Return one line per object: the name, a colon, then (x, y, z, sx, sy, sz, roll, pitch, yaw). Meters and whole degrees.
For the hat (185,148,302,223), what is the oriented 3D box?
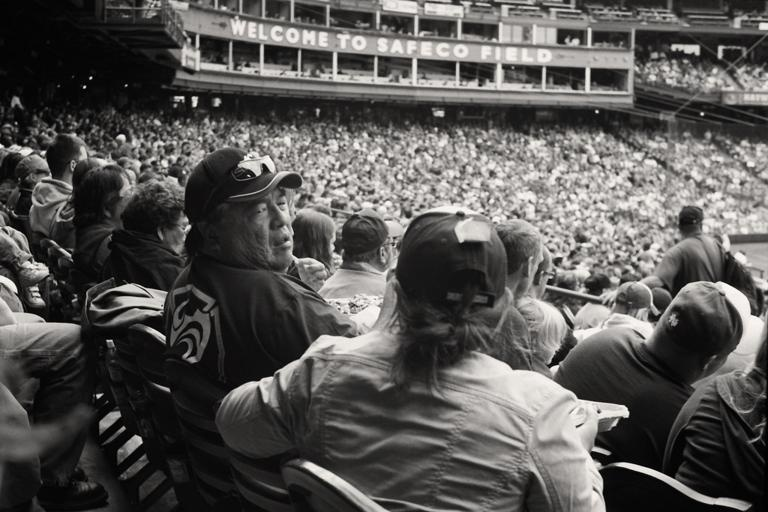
hat: (-0.892, -0.498, 6.008, 0.728, 0.386, 0.528, -19, 1, 33)

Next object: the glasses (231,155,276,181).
glasses: (-0.774, -0.521, 5.833, 0.184, 0.082, 0.166, -31, -14, 35)

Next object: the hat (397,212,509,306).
hat: (0.343, -0.046, 5.447, 0.551, 0.488, 0.933, 4, 8, -1)

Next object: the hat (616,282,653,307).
hat: (2.056, 0.318, 8.084, 0.292, 0.191, 0.315, 10, 9, 16)
